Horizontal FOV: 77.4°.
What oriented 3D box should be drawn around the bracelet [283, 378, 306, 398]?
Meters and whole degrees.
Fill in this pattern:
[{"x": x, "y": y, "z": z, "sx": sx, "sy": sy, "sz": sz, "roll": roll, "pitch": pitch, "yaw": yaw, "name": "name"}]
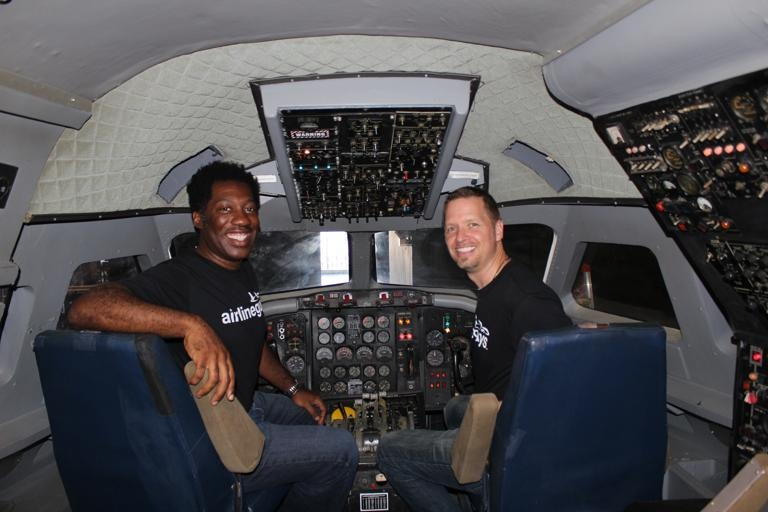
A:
[{"x": -0.705, "y": 1.039, "z": 3.763, "sx": 0.172, "sy": 0.165, "sz": 0.107, "roll": 5, "pitch": -29, "yaw": -14, "name": "bracelet"}]
